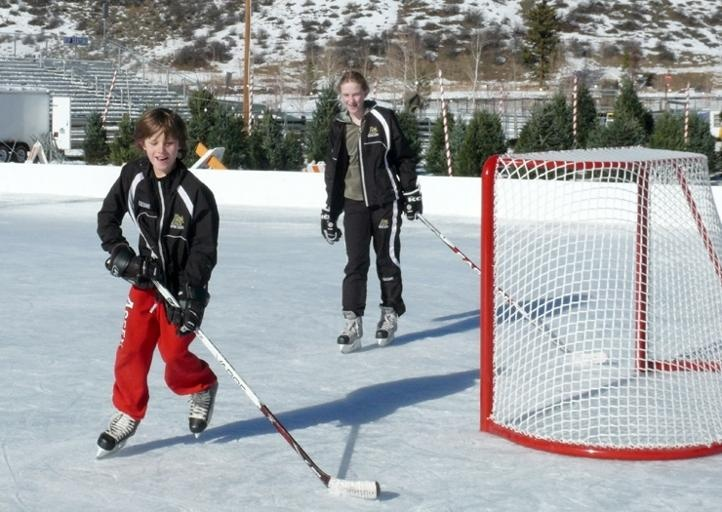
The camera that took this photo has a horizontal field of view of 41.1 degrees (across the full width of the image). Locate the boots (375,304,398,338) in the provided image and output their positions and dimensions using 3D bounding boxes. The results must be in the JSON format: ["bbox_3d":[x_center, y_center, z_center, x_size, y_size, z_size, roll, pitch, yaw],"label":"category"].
[{"bbox_3d":[0.183,0.492,6.986,0.111,0.248,0.348,6,12,15],"label":"boots"}]

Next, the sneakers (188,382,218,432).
[{"bbox_3d":[-0.863,0.833,5.319,0.098,0.312,0.121,-1,-16,16],"label":"sneakers"}]

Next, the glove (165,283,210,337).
[{"bbox_3d":[-0.914,0.295,5.112,0.196,0.274,0.123,11,-7,-13],"label":"glove"}]

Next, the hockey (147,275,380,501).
[{"bbox_3d":[-0.517,0.824,5.466,0.232,0.185,2.170,-42,38,-9],"label":"hockey"}]

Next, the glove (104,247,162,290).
[{"bbox_3d":[-1.170,0.060,5.144,0.317,0.136,0.196,14,18,9],"label":"glove"}]
